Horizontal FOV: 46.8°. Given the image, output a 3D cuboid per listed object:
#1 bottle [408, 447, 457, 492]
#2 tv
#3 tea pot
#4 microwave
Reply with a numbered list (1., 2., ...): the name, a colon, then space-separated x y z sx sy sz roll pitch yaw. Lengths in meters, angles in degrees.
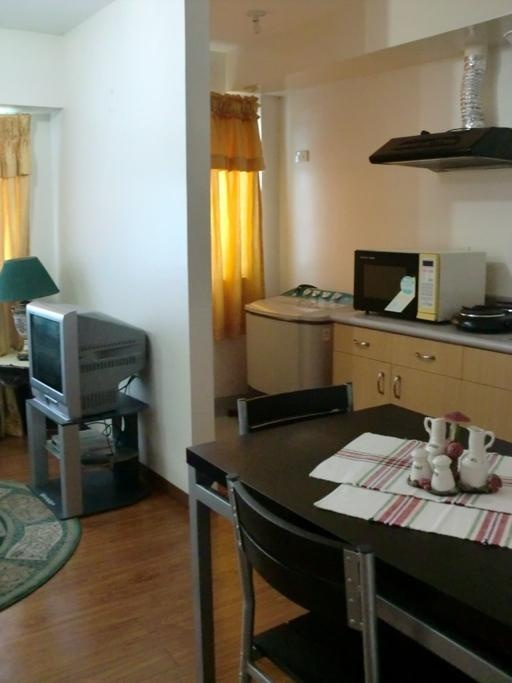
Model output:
1. bottle: 0.354 0.256 1.193 0.057 0.076 0.103 -1 5 -15
2. tv: -0.852 0.062 3.068 0.476 0.525 0.533 -7 12 -38
3. tea pot: 0.427 0.238 1.252 0.060 0.131 0.141 -9 10 -26
4. microwave: 0.990 -0.315 3.373 0.466 0.389 0.608 -6 11 -31
